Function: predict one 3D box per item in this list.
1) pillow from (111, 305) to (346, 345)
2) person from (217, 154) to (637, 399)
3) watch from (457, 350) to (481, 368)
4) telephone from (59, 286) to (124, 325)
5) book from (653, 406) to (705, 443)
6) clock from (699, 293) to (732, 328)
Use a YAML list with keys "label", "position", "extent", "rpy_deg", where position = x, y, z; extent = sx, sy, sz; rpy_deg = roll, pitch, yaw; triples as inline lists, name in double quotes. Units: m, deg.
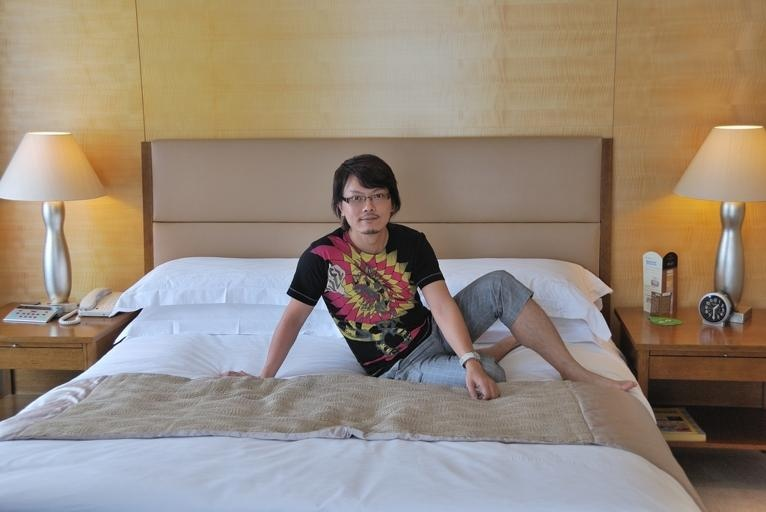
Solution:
- label: "pillow"
  position: [-0.840, 0.306, 2.947]
  extent: [0.647, 0.101, 0.394]
  rpy_deg: [2, 3, 0]
- label: "person"
  position: [0.162, 0.091, 2.535]
  extent: [1.650, 0.890, 0.733]
  rpy_deg: [1, 10, 17]
- label: "watch"
  position: [0.337, 0.400, 2.365]
  extent: [0.082, 0.064, 0.088]
  rpy_deg: [-2, 7, 1]
- label: "telephone"
  position: [-1.472, 0.262, 3.127]
  extent: [0.157, 0.051, 0.296]
  rpy_deg: [1, 13, 10]
- label: "book"
  position: [1.372, 0.814, 2.929]
  extent: [0.233, 0.043, 0.235]
  rpy_deg: [6, 24, 15]
- label: "clock"
  position: [1.632, 0.270, 3.003]
  extent: [0.169, 0.187, 0.096]
  rpy_deg: [-3, -2, 36]
